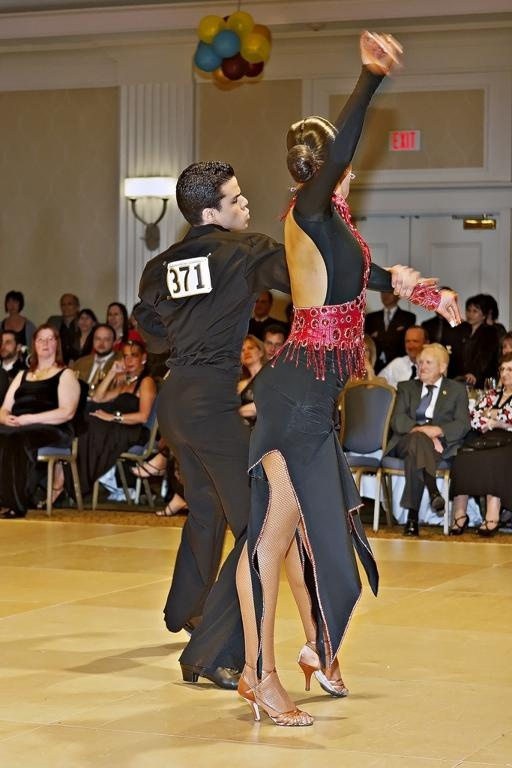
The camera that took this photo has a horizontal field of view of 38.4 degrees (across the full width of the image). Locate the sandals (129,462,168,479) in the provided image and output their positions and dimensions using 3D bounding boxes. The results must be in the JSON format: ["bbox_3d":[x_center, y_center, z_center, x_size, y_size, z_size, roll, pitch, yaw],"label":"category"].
[{"bbox_3d":[-0.908,0.749,6.222,0.305,0.126,0.072,-5,-35,-23],"label":"sandals"}]

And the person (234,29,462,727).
[{"bbox_3d":[0.145,-0.003,1.724,0.476,1.548,0.510,2,0,36],"label":"person"}]

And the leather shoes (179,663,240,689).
[{"bbox_3d":[-0.111,0.787,1.959,0.180,0.063,0.063,-1,0,17],"label":"leather shoes"}]

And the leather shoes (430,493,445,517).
[{"bbox_3d":[1.294,0.867,5.225,0.078,0.168,0.071,-21,45,-11],"label":"leather shoes"}]

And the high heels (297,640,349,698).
[{"bbox_3d":[0.176,0.722,1.857,0.162,0.121,0.067,17,-24,-28],"label":"high heels"}]

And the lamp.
[{"bbox_3d":[-1.392,-2.258,9.839,0.554,0.869,0.540,4,9,23],"label":"lamp"}]

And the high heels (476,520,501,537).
[{"bbox_3d":[1.624,1.006,5.109,0.115,0.105,0.268,1,-1,35],"label":"high heels"}]

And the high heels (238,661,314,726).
[{"bbox_3d":[0.053,0.692,1.633,0.187,0.122,0.079,-4,-10,23],"label":"high heels"}]
